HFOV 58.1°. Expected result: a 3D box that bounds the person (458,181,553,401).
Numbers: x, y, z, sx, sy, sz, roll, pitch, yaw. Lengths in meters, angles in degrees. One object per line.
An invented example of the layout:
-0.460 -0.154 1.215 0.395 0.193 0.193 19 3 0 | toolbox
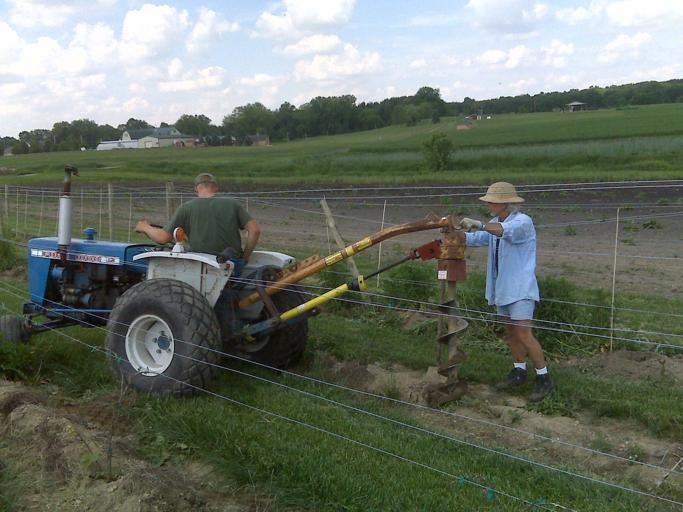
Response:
1.929 0.373 7.030 1.037 2.464 1.279 3 4 20 | person

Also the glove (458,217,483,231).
1.390 -0.340 6.636 0.142 0.080 0.188 6 2 -7 | glove

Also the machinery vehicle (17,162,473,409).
-1.593 0.250 7.438 5.727 2.579 2.063 2 4 6 | machinery vehicle

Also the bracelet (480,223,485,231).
1.509 -0.309 6.641 0.054 0.061 0.078 -2 -3 35 | bracelet
